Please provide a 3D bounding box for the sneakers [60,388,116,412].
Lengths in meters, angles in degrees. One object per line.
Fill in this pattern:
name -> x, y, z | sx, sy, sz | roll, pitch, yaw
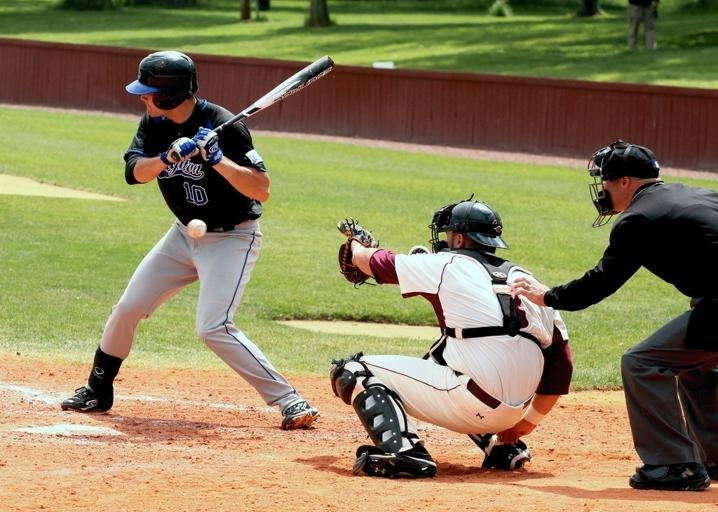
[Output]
sneakers -> -2.276, 1.232, 10.268 | 0.556, 0.179, 0.177 | 5, 5, -15

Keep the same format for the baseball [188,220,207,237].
baseball -> -1.328, -0.218, 9.907 | 0.162, 0.098, 0.165 | 28, 35, 36

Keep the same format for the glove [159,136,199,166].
glove -> -1.431, -0.837, 9.707 | 0.308, 0.108, 0.215 | -19, 5, 10

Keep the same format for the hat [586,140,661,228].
hat -> 2.202, -0.599, 9.827 | 0.928, 0.777, 0.781 | 1, 6, 16

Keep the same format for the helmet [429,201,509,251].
helmet -> 0.926, -0.250, 9.562 | 0.587, 0.349, 0.442 | 17, 14, 37

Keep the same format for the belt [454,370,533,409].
belt -> 1.047, 1.066, 9.246 | 0.382, 0.076, 0.327 | 29, 25, 13

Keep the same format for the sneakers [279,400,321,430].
sneakers -> -0.494, 1.346, 10.203 | 0.244, 0.152, 0.342 | -31, -14, 4

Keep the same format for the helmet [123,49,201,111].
helmet -> -1.618, -1.471, 10.076 | 0.765, 0.377, 0.435 | 3, 13, 1

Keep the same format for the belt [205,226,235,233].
belt -> -1.150, -0.210, 10.025 | 0.230, 0.062, 0.033 | 3, 12, -10

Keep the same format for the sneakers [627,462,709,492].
sneakers -> 2.419, 1.675, 9.149 | 0.660, 0.200, 0.214 | 2, 2, 4
